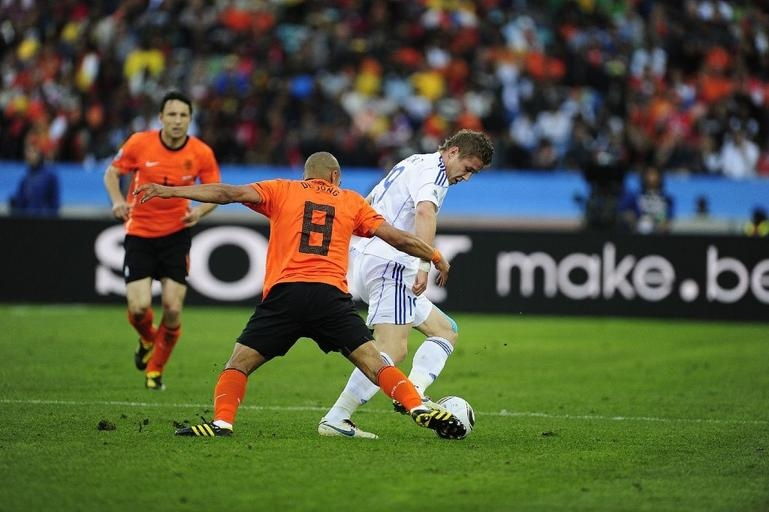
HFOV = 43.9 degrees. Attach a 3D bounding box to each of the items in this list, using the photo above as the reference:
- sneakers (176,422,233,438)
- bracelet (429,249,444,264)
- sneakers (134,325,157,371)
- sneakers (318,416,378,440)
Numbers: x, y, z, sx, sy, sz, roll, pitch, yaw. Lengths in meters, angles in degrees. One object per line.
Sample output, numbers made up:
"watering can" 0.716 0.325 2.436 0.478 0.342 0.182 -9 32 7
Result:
"sneakers" -1.643 1.595 8.715 0.509 0.160 0.188 4 -6 2
"bracelet" 0.485 0.005 8.809 0.057 0.126 0.095 7 -6 -8
"sneakers" -2.704 1.097 10.744 0.186 0.565 0.251 15 6 9
"sneakers" -0.365 1.601 8.960 0.610 0.266 0.205 2 -2 -5
